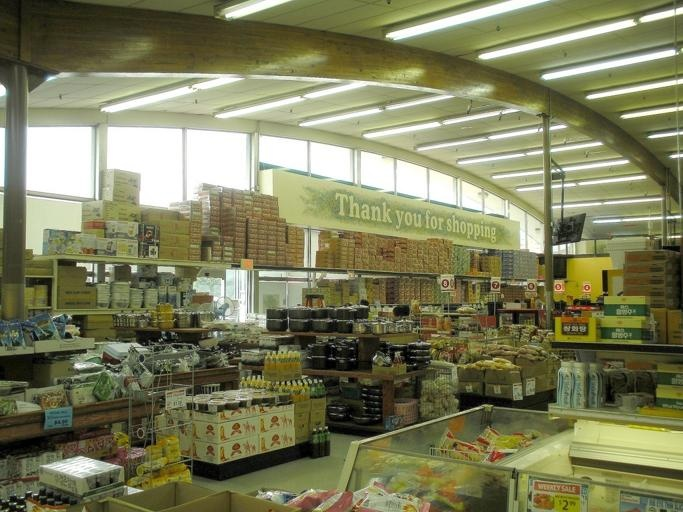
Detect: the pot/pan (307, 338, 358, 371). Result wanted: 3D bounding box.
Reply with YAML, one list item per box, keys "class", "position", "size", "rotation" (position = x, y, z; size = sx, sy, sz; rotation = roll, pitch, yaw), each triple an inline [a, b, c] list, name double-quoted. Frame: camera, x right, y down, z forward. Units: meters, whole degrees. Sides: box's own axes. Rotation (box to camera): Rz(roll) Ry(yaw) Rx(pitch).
- class: "pot/pan"
  position: [-0.092, 1.369, 8.040]
  size: [0.538, 0.191, 0.650]
  rotation: [0, -2, -25]

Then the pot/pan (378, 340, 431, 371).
- class: "pot/pan"
  position: [0.855, 1.362, 7.936]
  size: [0.643, 0.203, 0.407]
  rotation: [-1, -3, 42]

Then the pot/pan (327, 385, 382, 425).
- class: "pot/pan"
  position: [0.255, 2.016, 7.899]
  size: [0.539, 0.175, 0.659]
  rotation: [0, 0, 20]
